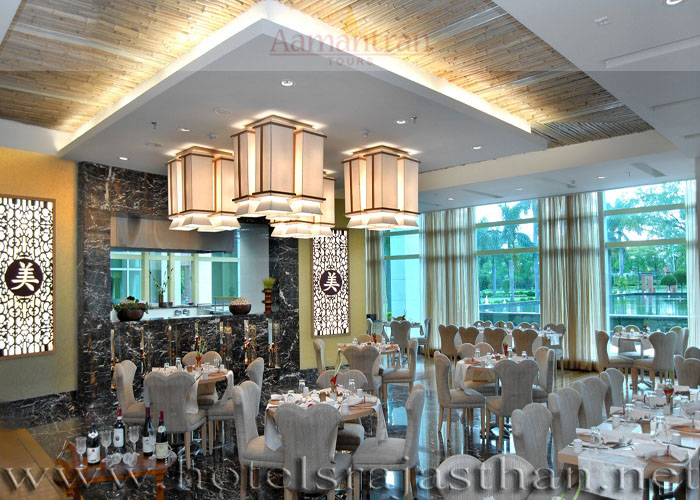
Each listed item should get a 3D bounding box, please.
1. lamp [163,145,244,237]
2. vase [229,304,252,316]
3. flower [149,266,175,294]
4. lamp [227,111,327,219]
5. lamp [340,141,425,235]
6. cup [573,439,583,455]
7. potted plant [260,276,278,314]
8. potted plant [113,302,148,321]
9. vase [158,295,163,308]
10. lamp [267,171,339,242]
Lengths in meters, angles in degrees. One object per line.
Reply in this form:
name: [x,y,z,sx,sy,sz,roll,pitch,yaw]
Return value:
lamp: [-2.516,-1.002,8.931,1.263,1.229,1.250,2,-2,-4]
vase: [-2.344,1.246,11.091,0.414,0.231,0.254,1,-3,-24]
flower: [-4.339,0.687,11.945,0.550,0.564,0.135,-4,13,-33]
lamp: [-1.058,-1.188,7.850,1.330,1.324,1.331,1,-1,-12]
lamp: [0.542,-1.040,9.011,1.318,1.151,1.317,-1,1,-39]
cup: [2.158,1.846,4.962,0.079,0.090,0.080,0,-6,0]
potted plant: [-1.828,0.964,11.669,0.278,0.775,0.333,2,-4,-38]
potted plant: [-4.055,1.110,9.616,0.392,0.201,0.391,3,-4,-42]
vase: [-4.357,1.161,12.027,0.100,0.264,0.064,1,-3,-33]
lamp: [-0.692,-0.498,9.364,1.035,1.348,1.397,-5,-7,39]
